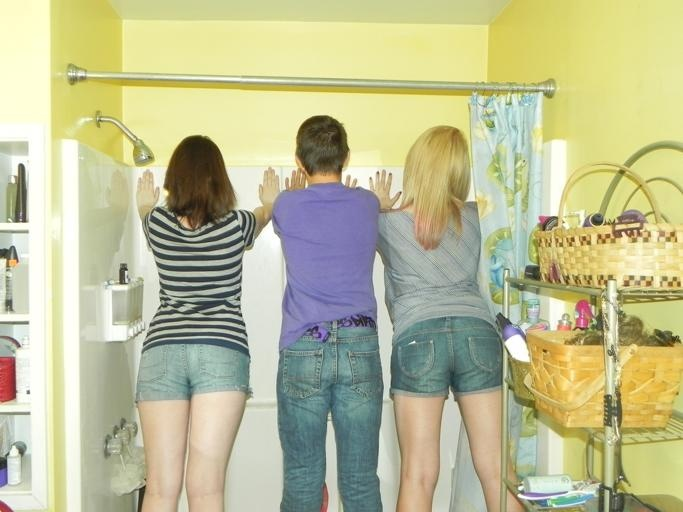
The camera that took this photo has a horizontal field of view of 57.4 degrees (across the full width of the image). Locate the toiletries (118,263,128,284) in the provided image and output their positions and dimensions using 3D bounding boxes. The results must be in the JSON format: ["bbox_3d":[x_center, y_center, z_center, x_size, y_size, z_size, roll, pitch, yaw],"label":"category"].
[{"bbox_3d":[-0.942,0.082,2.714,0.042,0.087,0.086,1,-2,-20],"label":"toiletries"}]

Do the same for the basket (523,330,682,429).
[{"bbox_3d":[0.799,0.347,1.893,0.283,0.214,0.384,1,-4,-18],"label":"basket"}]

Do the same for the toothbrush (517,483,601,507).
[{"bbox_3d":[0.737,0.780,2.072,0.308,0.081,0.096,2,11,-4],"label":"toothbrush"}]

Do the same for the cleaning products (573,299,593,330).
[{"bbox_3d":[0.827,0.200,2.117,0.058,0.115,0.044,1,13,17],"label":"cleaning products"}]
